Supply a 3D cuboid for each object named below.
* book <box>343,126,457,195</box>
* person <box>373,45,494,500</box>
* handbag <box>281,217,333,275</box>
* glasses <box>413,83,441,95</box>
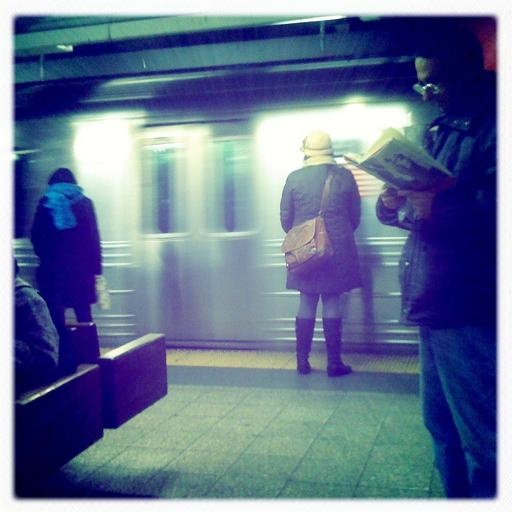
[{"bbox_3d":[0.543,-0.316,2.014,0.259,0.104,0.253,31,-22,-21],"label":"book"},{"bbox_3d":[0.774,0.126,2.257,0.293,1.871,0.460,-8,7,-41],"label":"person"},{"bbox_3d":[0.387,-0.070,4.006,0.283,0.311,0.178,-30,-30,27],"label":"handbag"},{"bbox_3d":[0.697,-0.687,2.262,0.066,0.027,0.089,3,-10,2],"label":"glasses"}]
